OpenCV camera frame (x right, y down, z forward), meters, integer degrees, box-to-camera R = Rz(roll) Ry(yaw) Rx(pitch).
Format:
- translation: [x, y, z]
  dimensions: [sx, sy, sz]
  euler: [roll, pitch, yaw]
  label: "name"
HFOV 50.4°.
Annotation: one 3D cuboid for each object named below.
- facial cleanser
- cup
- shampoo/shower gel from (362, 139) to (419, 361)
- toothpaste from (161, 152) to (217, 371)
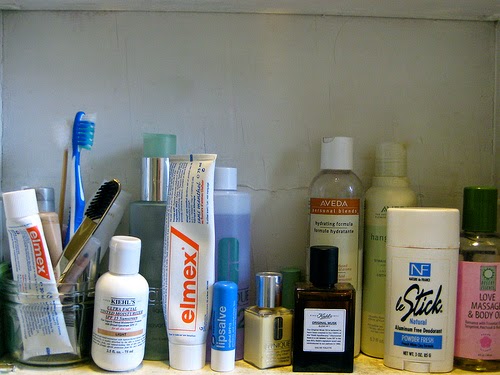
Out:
- translation: [0.260, 0.157, 0.811]
  dimensions: [0.103, 0.246, 0.041]
  euler: [1, 4, 16]
  label: "facial cleanser"
- translation: [-0.303, 0.204, 0.791]
  dimensions: [0.076, 0.191, 0.111]
  euler: [1, -1, -7]
  label: "cup"
- translation: [0.207, 0.095, 0.875]
  dimensions: [0.143, 0.314, 0.120]
  euler: [0, -4, 13]
  label: "shampoo/shower gel"
- translation: [-0.093, 0.111, 0.809]
  dimensions: [0.077, 0.322, 0.060]
  euler: [0, 4, 9]
  label: "toothpaste"
